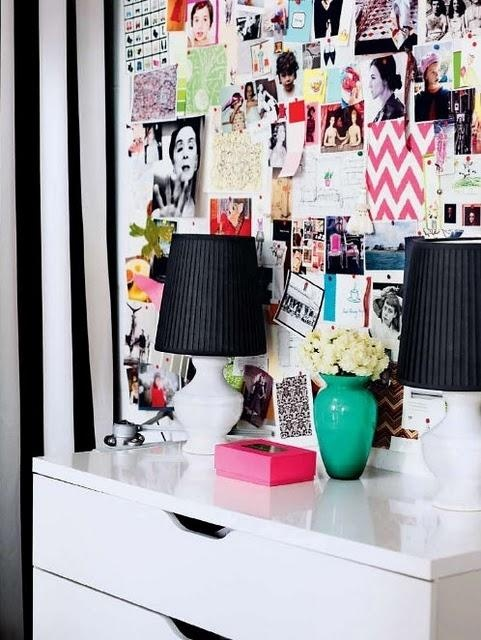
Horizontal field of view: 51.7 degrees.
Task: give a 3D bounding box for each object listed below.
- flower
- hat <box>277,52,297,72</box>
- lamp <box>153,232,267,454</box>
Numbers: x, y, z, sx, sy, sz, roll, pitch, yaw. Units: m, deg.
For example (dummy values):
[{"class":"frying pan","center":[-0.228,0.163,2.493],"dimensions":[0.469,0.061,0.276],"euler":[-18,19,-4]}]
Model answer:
[{"class":"flower","center":[0.214,0.067,1.001],"dimensions":[0.182,0.095,0.158],"euler":[6,11,8]},{"class":"hat","center":[0.117,-0.646,1.254],"dimensions":[0.037,0.061,0.050],"euler":[1,-1,-10]},{"class":"lamp","center":[-0.080,0.048,1.217],"dimensions":[0.196,0.544,0.225],"euler":[6,11,24]}]
